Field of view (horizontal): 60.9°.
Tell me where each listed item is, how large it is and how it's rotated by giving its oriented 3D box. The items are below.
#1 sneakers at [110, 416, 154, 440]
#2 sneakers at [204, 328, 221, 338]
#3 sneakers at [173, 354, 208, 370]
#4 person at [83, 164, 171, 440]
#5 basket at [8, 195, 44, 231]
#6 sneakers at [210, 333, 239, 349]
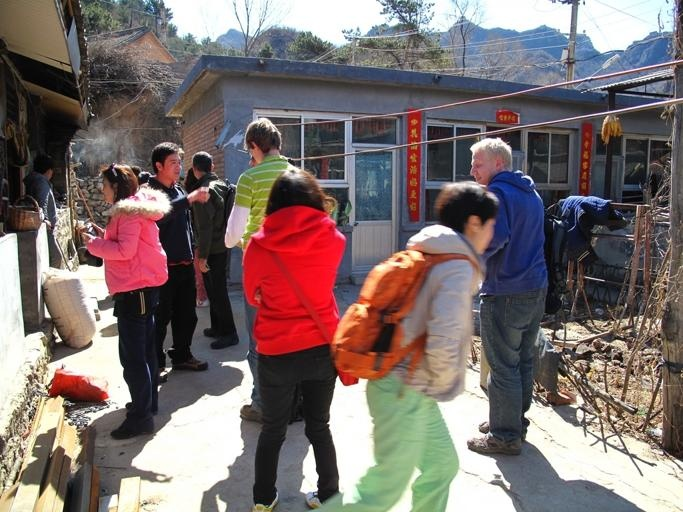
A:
[{"bbox_3d":[-1.701,1.417,4.804,0.380,0.195,0.144,6,-1,-16],"label":"sneakers"},{"bbox_3d":[-1.553,0.914,6.944,0.226,0.110,0.095,9,12,-6],"label":"sneakers"},{"bbox_3d":[-1.546,1.110,5.980,0.361,0.187,0.141,0,-1,-8],"label":"sneakers"},{"bbox_3d":[-1.755,0.364,4.820,0.698,2.232,0.388,-5,7,-35],"label":"person"},{"bbox_3d":[-3.102,-0.411,5.697,0.233,0.337,0.378,0,6,8],"label":"basket"},{"bbox_3d":[-1.324,0.971,6.611,0.325,0.175,0.130,4,-4,-38],"label":"sneakers"}]
